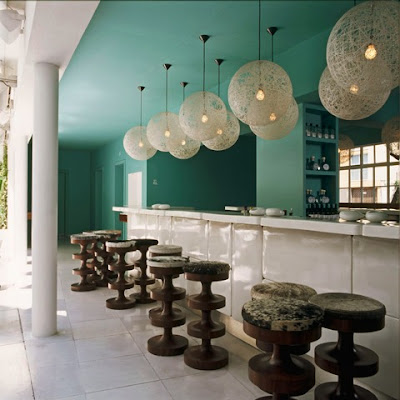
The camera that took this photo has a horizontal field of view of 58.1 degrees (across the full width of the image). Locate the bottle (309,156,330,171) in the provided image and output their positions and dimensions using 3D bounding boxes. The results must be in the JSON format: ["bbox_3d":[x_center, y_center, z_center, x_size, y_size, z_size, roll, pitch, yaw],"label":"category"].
[{"bbox_3d":[1.662,-0.498,5.059,0.234,0.150,0.085,0,2,-29],"label":"bottle"}]

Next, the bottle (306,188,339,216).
[{"bbox_3d":[1.677,0.045,4.935,0.450,0.453,0.464,0,-3,0],"label":"bottle"}]

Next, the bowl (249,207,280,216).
[{"bbox_3d":[0.653,0.123,3.550,0.125,0.056,0.211,1,0,-19],"label":"bowl"}]
